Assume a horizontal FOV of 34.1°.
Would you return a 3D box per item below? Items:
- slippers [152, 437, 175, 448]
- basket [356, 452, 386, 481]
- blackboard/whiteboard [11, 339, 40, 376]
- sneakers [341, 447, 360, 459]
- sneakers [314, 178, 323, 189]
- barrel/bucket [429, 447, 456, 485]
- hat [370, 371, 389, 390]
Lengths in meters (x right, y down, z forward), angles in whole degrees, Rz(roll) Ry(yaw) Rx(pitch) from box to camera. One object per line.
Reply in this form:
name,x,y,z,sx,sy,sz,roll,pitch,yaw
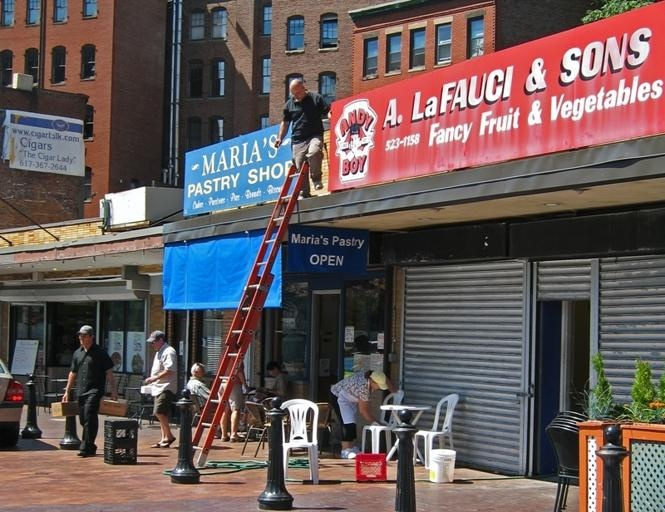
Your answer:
slippers,-2.878,3.219,18.808,0.171,0.100,0.365,-4,-7,33
basket,0.562,3.077,15.984,0.398,0.348,0.402,1,-4,-1
blackboard/whiteboard,-7.906,2.638,28.037,0.776,0.882,0.098,-11,-25,32
sneakers,0.296,3.238,17.859,0.143,0.143,0.337,7,-16,-31
sneakers,-0.225,-1.129,17.412,0.171,0.167,0.105,-1,-2,22
barrel/bucket,1.600,3.054,15.943,0.388,0.437,0.436,0,-1,6
hat,0.764,2.036,17.711,0.152,0.292,0.215,-43,-15,24
